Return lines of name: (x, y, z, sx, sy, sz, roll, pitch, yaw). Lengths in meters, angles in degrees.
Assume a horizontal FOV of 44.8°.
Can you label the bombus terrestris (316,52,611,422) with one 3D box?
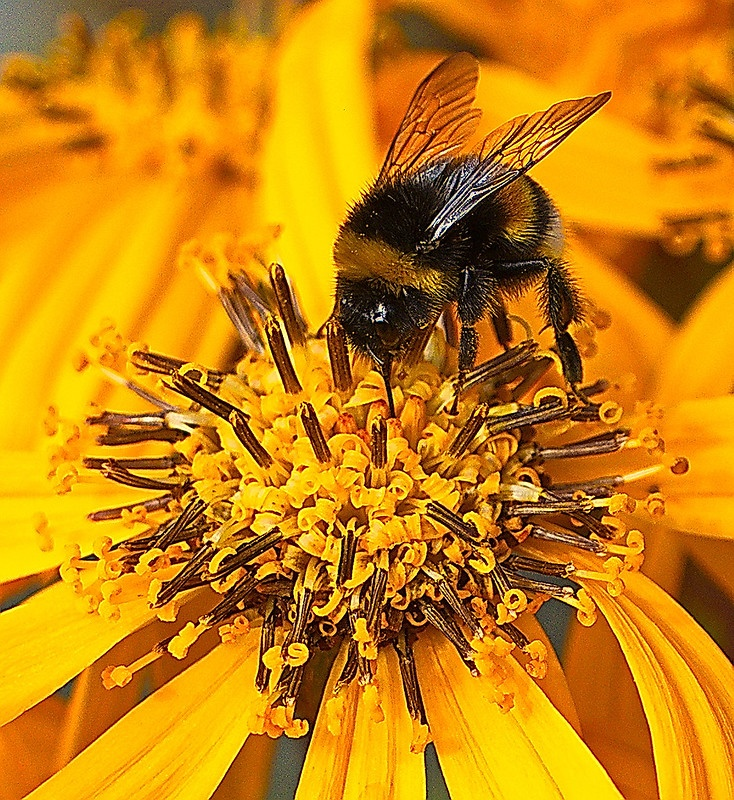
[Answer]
bombus terrestris: (0.120, -0.160, 1.085, 0.314, 0.145, 0.417, 36, 101, 49)
